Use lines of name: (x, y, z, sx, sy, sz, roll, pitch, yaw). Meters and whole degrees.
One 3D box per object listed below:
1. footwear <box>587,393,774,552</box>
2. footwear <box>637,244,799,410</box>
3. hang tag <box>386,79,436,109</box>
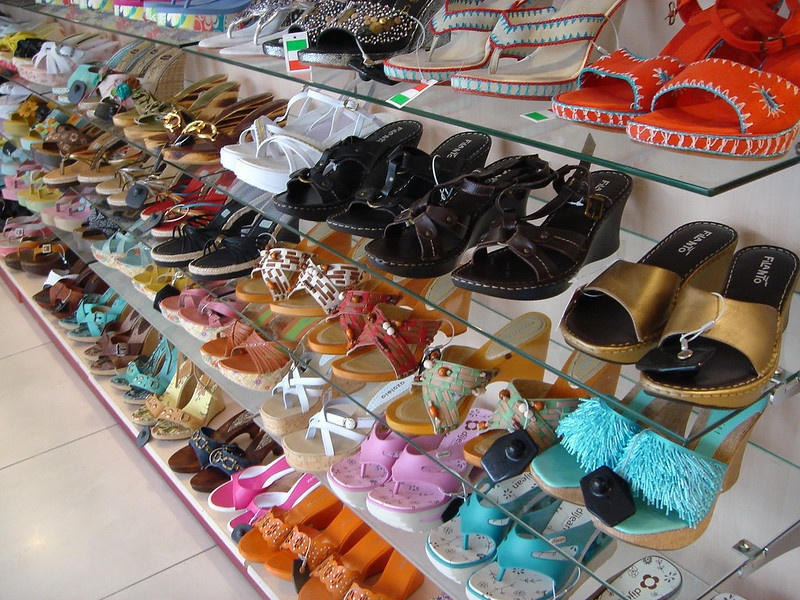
footwear: (0.491, 0.215, 0.909, 0.465, 0.156, 0.173, -23, 32, -31)
footwear: (0.497, 0.041, 0.772, 0.382, 0.102, 0.155, -38, 33, -27)
hang tag: (0.020, -0.355, 0.899, 0.086, 0.004, 0.044, -36, 47, -15)
